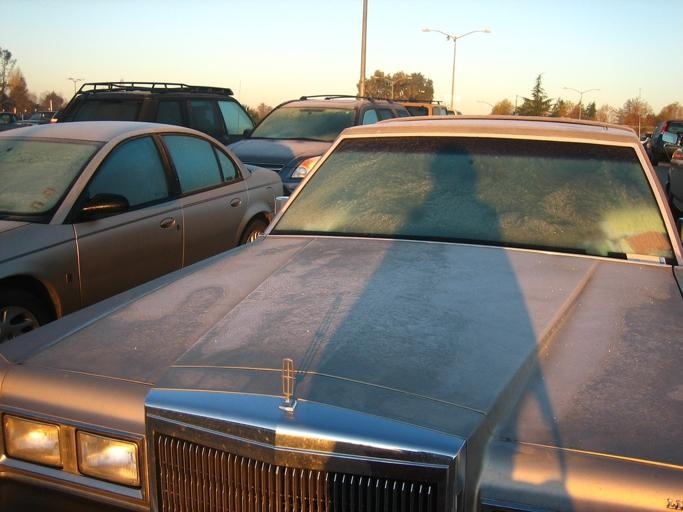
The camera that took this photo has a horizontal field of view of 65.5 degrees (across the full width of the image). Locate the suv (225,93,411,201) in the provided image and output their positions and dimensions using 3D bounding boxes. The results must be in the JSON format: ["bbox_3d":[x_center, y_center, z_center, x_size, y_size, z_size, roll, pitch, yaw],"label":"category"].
[{"bbox_3d":[-0.615,-2.353,10.843,2.570,1.840,4.436,6,13,28],"label":"suv"}]
